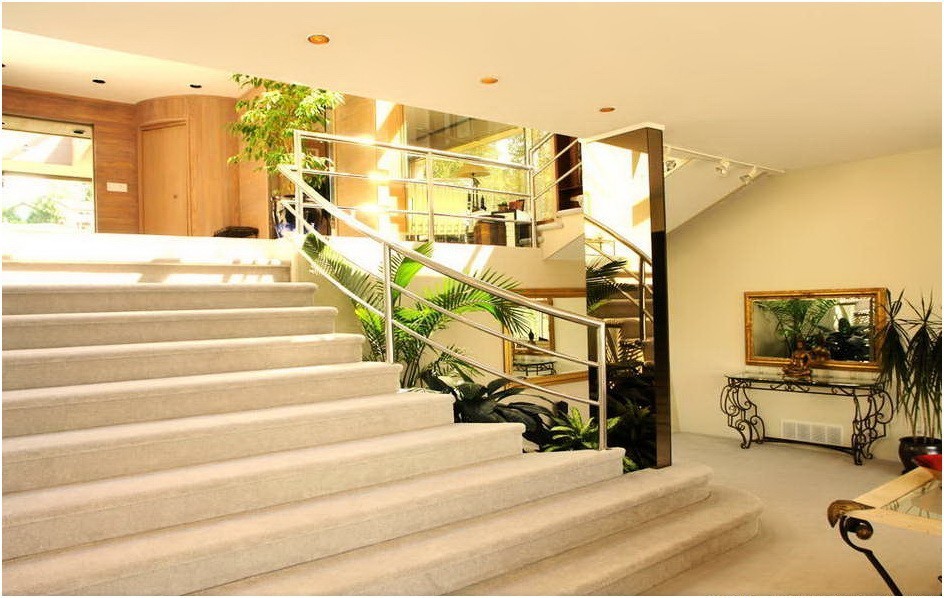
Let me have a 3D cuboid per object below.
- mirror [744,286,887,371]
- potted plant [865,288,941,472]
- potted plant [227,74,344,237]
[{"bbox_3d":[4.075,0.366,6.818,1.932,0.995,0.117,1,-3,-7],"label":"mirror"},{"bbox_3d":[4.598,0.856,6.020,0.635,1.887,0.907,6,6,32],"label":"potted plant"},{"bbox_3d":[-2.442,-2.166,7.172,1.245,1.131,0.690,5,5,25],"label":"potted plant"}]
